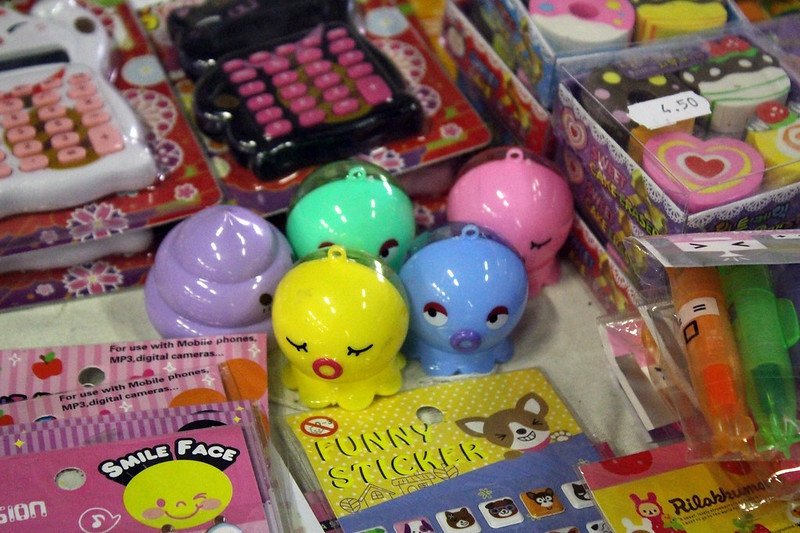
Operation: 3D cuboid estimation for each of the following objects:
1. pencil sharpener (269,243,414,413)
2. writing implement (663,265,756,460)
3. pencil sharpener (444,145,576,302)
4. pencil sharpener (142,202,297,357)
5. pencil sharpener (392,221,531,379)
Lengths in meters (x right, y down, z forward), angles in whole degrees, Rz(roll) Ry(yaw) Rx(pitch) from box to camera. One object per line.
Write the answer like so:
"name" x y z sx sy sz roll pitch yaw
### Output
"pencil sharpener" -0.085 0.069 0.958 0.191 0.224 0.206 -1 38 -3
"writing implement" 0.350 0.108 0.774 0.046 0.051 0.213 -9 69 7
"pencil sharpener" 0.178 -0.099 1.126 0.222 0.195 0.192 -5 39 -16
"pencil sharpener" -0.270 0.013 0.956 0.234 0.164 0.142 -12 57 -1
"pencil sharpener" 0.096 0.030 1.014 0.189 0.224 0.190 -26 49 -26
